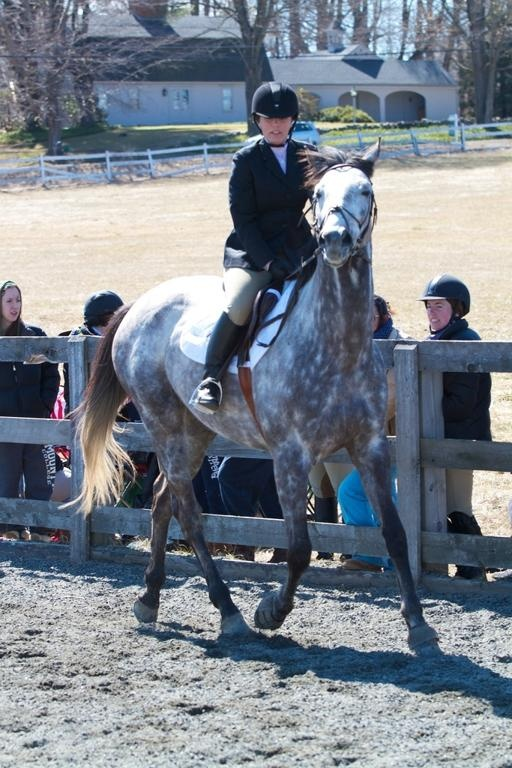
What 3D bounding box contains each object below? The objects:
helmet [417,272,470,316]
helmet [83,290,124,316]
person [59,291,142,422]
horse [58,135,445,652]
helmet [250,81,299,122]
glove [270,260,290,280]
[{"bbox_3d":[1.119,-0.512,7.282,0.285,0.175,0.210,22,-12,-40],"label":"helmet"},{"bbox_3d":[-1.071,-0.544,8.586,0.270,0.138,0.187,-17,27,-28],"label":"helmet"},{"bbox_3d":[-1.126,-0.395,8.501,0.321,1.360,0.771,0,9,0],"label":"person"},{"bbox_3d":[-0.102,0.076,6.216,0.868,2.387,2.153,-7,9,-30],"label":"horse"},{"bbox_3d":[0.091,-1.342,6.047,0.166,0.216,0.171,1,4,-2],"label":"helmet"},{"bbox_3d":[0.107,-0.538,6.042,0.075,0.100,0.050,-34,-12,9],"label":"glove"}]
